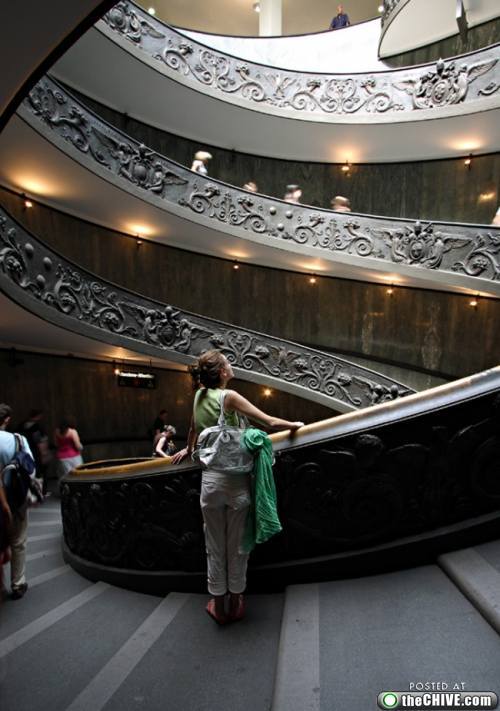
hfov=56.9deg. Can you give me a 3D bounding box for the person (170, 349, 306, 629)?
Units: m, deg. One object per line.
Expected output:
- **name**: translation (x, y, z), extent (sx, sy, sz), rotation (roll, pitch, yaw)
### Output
- **person**: translation (-0.082, 0.607, 2.137), extent (0.548, 1.240, 0.349), rotation (2, 7, 37)

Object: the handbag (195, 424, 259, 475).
- **handbag**: translation (-0.102, 0.446, 2.063), extent (0.285, 0.193, 0.269), rotation (3, 52, -4)

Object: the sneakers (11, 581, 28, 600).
- **sneakers**: translation (-1.491, 1.529, 2.984), extent (0.037, 0.093, 0.125), rotation (6, 35, -3)

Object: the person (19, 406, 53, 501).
- **person**: translation (-3.283, 1.588, 6.993), extent (0.392, 1.699, 0.422), rotation (12, 16, 18)

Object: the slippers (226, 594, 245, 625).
- **slippers**: translation (-0.058, 1.124, 2.068), extent (0.048, 0.119, 0.160), rotation (0, 6, 7)

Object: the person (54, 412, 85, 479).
- **person**: translation (-2.455, 1.312, 6.254), extent (0.346, 1.225, 0.363), rotation (3, 22, -9)

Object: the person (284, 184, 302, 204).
- **person**: translation (1.202, -4.516, 12.596), extent (0.515, 0.542, 1.106), rotation (-2, 6, 6)
